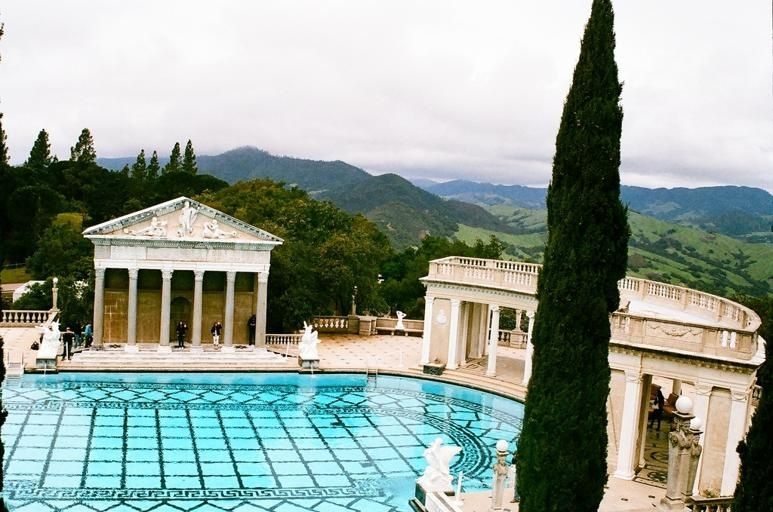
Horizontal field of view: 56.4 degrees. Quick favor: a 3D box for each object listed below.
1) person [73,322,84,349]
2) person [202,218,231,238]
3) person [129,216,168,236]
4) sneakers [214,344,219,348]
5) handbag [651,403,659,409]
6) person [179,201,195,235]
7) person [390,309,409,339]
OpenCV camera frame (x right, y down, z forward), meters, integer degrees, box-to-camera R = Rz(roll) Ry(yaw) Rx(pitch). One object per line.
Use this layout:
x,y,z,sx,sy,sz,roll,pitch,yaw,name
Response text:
-17.910,4.582,41.745,0.415,1.174,1.656,-1,10,-23,person
-9.814,-1.527,41.255,1.397,1.010,0.406,1,10,-12,person
-13.267,-1.651,40.365,1.767,1.070,0.507,-2,10,-25,person
-9.984,5.285,42.217,0.192,0.198,0.184,0,-8,7,sneakers
12.601,7.042,33.684,0.336,0.122,0.327,0,10,11,handbag
-11.329,-2.136,40.904,0.870,1.912,0.347,0,10,-17,person
0.967,4.699,50.930,1.162,1.538,1.493,3,9,2,person
